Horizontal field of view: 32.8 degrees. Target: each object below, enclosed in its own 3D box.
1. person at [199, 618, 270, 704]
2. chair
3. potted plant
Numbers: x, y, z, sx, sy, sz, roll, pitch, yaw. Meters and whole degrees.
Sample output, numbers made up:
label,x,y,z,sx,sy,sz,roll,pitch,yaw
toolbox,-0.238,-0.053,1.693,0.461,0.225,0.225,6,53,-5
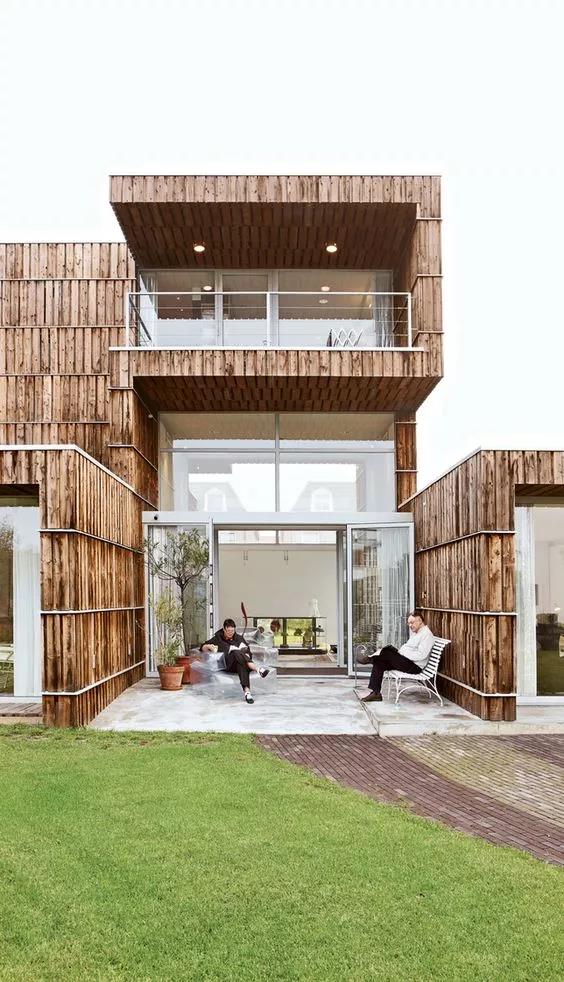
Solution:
label,x,y,z,sx,sy,sz,roll,pitch,yaw
person,-0.534,1.930,11.022,0.940,0.829,0.711,-2,-3,41
chair,-0.590,1.932,10.869,0.455,0.705,0.919,5,4,-11
potted plant,-1.409,1.474,12.917,0.916,2.048,1.385,1,-2,-10
